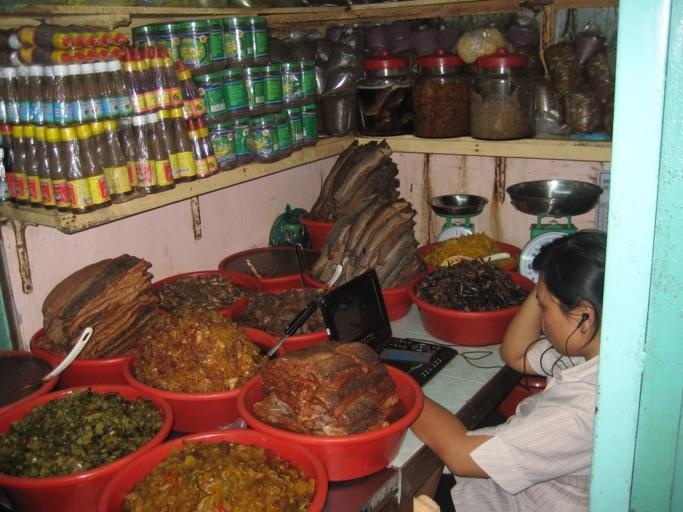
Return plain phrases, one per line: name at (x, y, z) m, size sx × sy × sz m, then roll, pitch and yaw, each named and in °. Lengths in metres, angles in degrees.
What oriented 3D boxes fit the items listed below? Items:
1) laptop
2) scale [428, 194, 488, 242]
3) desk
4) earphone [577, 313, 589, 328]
laptop at (0.138, 0.266, 2.121) m, size 0.519 × 0.404 × 0.462 m, roll 9°, pitch 30°, yaw 26°
scale at (0.658, -0.174, 3.001) m, size 0.328 × 0.240 × 0.311 m, roll -2°, pitch -11°, yaw 14°
desk at (0.179, 0.549, 2.026) m, size 0.756 × 0.230 × 1.145 m, roll 19°, pitch 40°, yaw 28°
earphone at (0.761, 0.203, 1.677) m, size 0.023 × 0.041 × 0.019 m, roll 33°, pitch 19°, yaw 9°
